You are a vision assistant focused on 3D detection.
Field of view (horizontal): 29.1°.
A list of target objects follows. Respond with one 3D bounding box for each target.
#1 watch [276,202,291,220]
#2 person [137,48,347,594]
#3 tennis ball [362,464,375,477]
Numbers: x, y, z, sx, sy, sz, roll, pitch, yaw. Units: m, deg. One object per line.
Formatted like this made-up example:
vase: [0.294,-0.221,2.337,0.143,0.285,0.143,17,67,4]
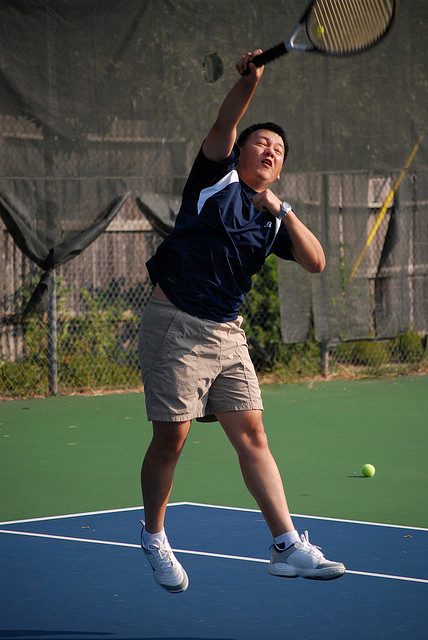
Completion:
watch: [0.254,-0.399,3.058,0.033,0.050,0.051,31,24,-2]
person: [0.058,0.045,3.108,0.696,1.961,0.530,-1,6,-5]
tennis ball: [0.897,0.869,4.765,0.058,0.071,0.060,-12,39,10]
